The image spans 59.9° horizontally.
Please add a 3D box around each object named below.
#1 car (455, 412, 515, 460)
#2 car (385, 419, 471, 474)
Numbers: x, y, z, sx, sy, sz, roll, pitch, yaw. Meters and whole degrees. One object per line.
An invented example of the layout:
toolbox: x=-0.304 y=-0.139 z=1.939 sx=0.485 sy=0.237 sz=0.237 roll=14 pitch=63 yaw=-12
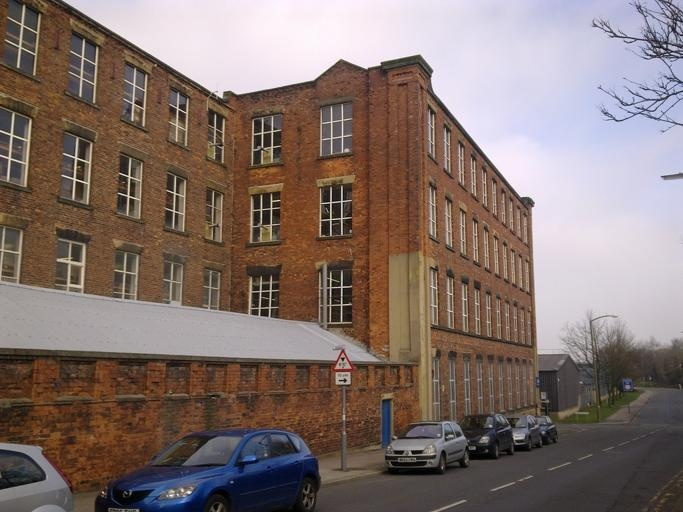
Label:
car: x=6.176 y=7.803 z=25.815 sx=1.686 sy=1.188 sz=2.713 roll=-10 pitch=-23 yaw=27
car: x=3.127 y=6.683 z=20.748 sx=1.697 sy=1.110 sz=2.721 roll=-10 pitch=-22 yaw=25
